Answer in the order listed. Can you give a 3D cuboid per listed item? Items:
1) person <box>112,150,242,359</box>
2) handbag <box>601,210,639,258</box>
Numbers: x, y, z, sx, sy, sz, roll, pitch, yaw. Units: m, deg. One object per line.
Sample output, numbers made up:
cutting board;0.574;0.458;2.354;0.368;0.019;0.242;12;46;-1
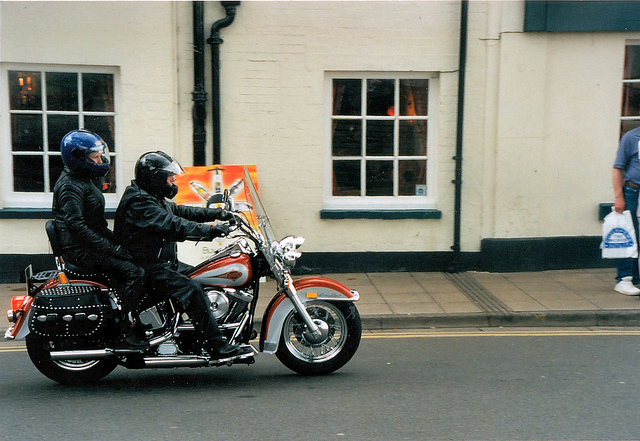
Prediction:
person;-1.677;0.384;11.791;1.366;2.378;0.655;2;11;24
handbag;4.316;0.198;14.457;0.476;0.665;0.233;0;11;16
